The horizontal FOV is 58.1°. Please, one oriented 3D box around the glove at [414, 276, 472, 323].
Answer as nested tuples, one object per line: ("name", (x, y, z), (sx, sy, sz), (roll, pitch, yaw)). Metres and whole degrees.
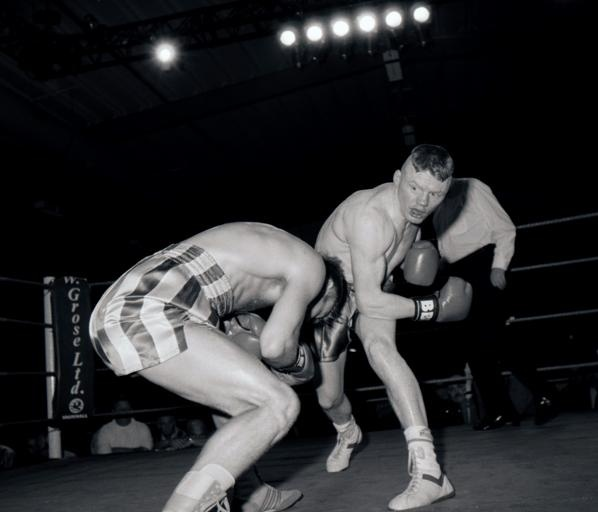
("glove", (0.701, 0.239, 2.606), (0.254, 0.181, 0.117), (-22, -34, 7))
